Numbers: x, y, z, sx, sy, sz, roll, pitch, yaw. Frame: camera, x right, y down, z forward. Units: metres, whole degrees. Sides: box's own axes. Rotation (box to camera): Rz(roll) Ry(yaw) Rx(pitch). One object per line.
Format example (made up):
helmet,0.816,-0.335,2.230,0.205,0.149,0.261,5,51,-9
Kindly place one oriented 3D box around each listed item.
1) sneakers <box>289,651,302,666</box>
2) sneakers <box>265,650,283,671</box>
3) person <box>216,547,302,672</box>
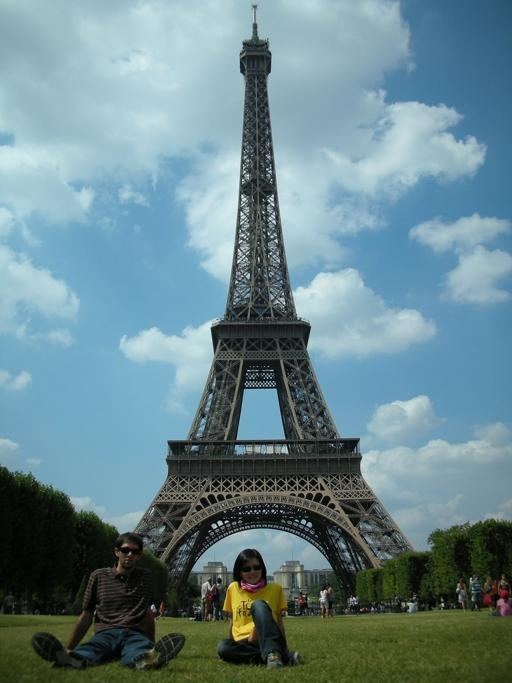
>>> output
sneakers,0.527,4.222,11.082,0.169,0.137,0.125,-8,-31,18
sneakers,0.231,4.025,10.501,0.198,0.183,0.326,-1,-22,-1
person,-0.011,3.573,11.178,0.978,1.499,1.052,0,-24,-3
